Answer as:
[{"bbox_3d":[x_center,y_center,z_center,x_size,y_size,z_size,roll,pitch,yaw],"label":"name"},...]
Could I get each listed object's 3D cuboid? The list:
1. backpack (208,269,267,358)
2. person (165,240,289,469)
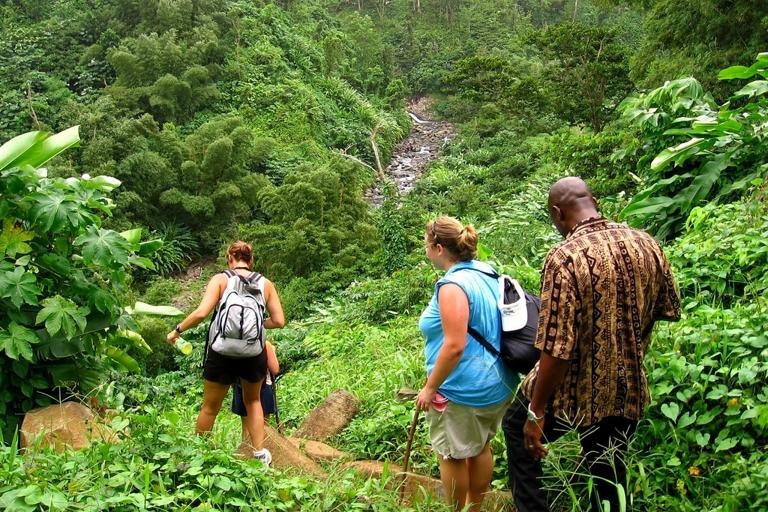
[{"bbox_3d":[-1.189,0.523,5.650,0.462,0.689,0.386,7,5,-6],"label":"backpack"},{"bbox_3d":[-1.386,0.831,5.753,1.056,1.898,0.708,4,-2,-8],"label":"person"}]
